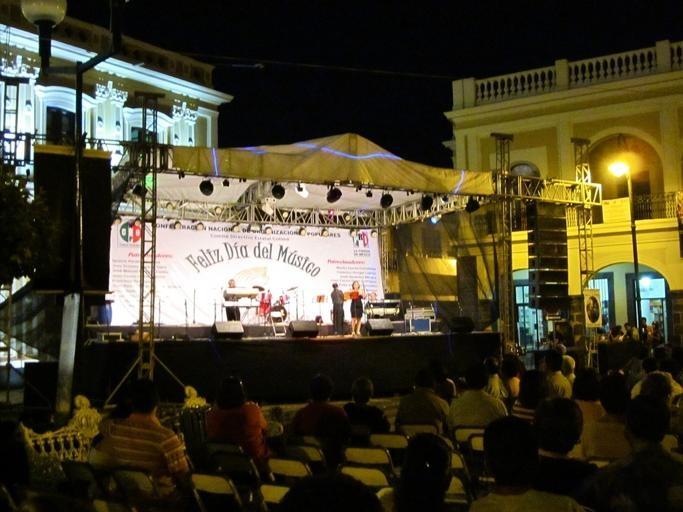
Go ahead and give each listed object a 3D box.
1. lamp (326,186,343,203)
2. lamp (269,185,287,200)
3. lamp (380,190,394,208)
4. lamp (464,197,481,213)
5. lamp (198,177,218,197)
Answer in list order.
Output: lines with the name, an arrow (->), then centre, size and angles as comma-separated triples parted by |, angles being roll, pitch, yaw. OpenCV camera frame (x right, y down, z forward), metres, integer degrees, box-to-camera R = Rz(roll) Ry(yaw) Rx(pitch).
lamp -> -0.185, -1.395, 18.259 | 0.336, 0.486, 0.412 | 7, 11, 0
lamp -> -1.453, -1.476, 17.751 | 0.358, 0.278, 0.374 | 1, 34, 1
lamp -> 1.157, -1.450, 19.887 | 0.329, 0.493, 0.483 | 1, -34, 1
lamp -> 3.325, -1.312, 19.622 | 0.277, 0.471, 0.456 | -11, -8, 15
lamp -> -3.069, -1.616, 17.627 | 0.245, 0.452, 1.037 | 1, -3, -7
